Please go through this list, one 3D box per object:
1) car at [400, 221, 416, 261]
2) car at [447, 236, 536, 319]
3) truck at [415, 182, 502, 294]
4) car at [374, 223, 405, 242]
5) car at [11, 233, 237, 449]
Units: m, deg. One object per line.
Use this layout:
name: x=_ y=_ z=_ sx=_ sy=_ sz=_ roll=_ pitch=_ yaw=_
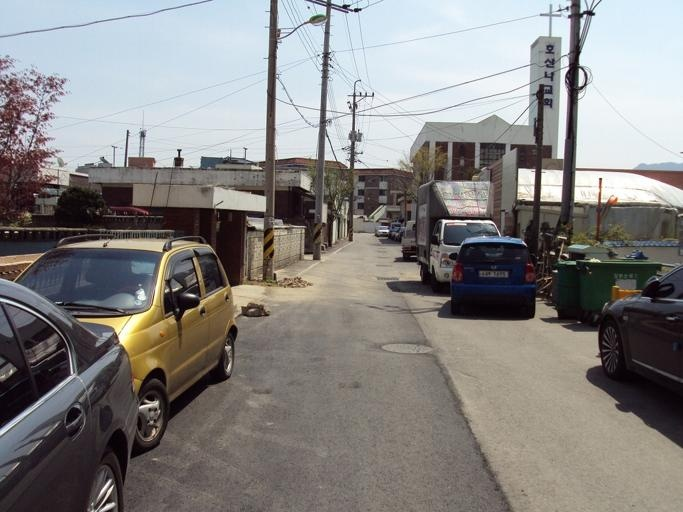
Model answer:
car: x=4.460 y=-1.028 z=36.918 sx=1.118 sy=1.318 sz=2.242 roll=0 pitch=7 yaw=3
car: x=3.656 y=0.404 z=13.214 sx=1.273 sy=1.157 sz=2.298 roll=0 pitch=7 yaw=6
truck: x=3.894 y=-1.043 z=19.621 sx=1.762 sy=3.262 sz=5.392 roll=0 pitch=0 yaw=2
car: x=7.169 y=-3.407 z=75.991 sx=2.208 sy=2.184 sz=4.101 roll=0 pitch=-1 yaw=-1
car: x=-2.328 y=0.759 z=6.570 sx=1.499 sy=1.537 sz=2.574 roll=0 pitch=-2 yaw=9
